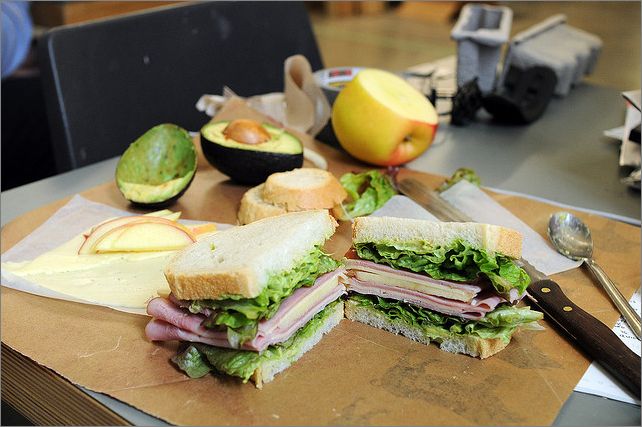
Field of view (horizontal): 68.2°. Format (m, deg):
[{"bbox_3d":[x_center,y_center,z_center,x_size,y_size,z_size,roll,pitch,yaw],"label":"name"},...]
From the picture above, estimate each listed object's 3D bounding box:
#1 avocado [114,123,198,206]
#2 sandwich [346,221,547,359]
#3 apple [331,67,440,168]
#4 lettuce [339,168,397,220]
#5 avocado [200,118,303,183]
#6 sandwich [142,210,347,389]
[{"bbox_3d":[-0.524,-0.166,1.593,0.224,0.289,0.298,8,24,15],"label":"avocado"},{"bbox_3d":[0.312,0.168,1.237,0.494,0.308,0.219,6,11,38],"label":"sandwich"},{"bbox_3d":[0.223,-0.327,1.802,0.376,0.362,0.350,-2,39,2],"label":"apple"},{"bbox_3d":[0.149,-0.092,1.608,0.218,0.152,0.178,11,24,39],"label":"lettuce"},{"bbox_3d":[-0.235,-0.203,1.663,0.311,0.212,0.263,-25,22,-34],"label":"avocado"},{"bbox_3d":[-0.174,0.190,1.163,0.394,0.263,0.462,12,25,28],"label":"sandwich"}]
